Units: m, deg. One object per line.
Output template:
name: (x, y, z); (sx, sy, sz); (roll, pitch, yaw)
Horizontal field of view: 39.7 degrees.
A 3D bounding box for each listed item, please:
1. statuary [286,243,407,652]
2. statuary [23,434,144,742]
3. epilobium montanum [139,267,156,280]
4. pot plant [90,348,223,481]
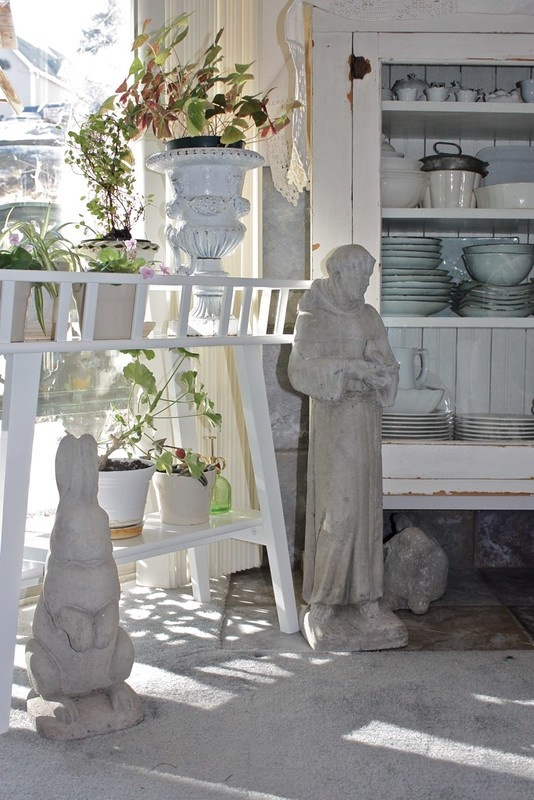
statuary: (0.211, 0.123, 1.882); (0.309, 1.015, 0.190); (1, 3, 8)
statuary: (-0.364, 0.357, 1.478); (0.226, 0.577, 0.157); (-1, 4, -23)
epilobium montanum: (-0.245, -0.257, 1.499); (0.031, 0.028, 0.049); (0, 4, -12)
pot plant: (-0.327, 0.012, 2.073); (0.366, 0.374, 0.387); (7, 6, 13)
